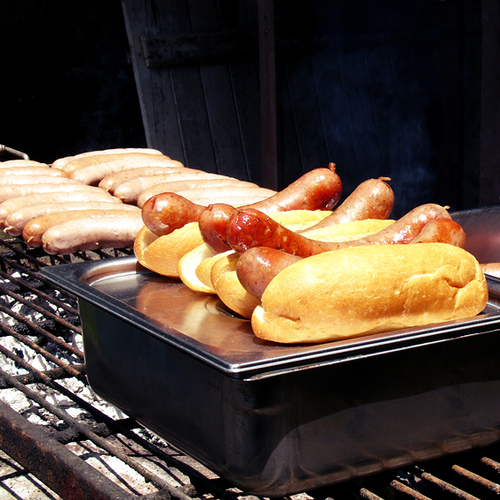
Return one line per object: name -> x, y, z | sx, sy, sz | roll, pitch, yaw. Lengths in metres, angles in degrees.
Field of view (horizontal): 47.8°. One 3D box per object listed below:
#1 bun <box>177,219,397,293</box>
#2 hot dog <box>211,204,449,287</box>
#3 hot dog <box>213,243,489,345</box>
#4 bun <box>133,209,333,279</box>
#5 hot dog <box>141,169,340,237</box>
bun -> 0.050, -0.003, 0.934 | 0.293, 0.051, 0.152 | -9, 8, -16
hot dog -> 0.104, -0.027, 0.817 | 0.403, 0.080, 0.057 | 1, 14, -22
hot dog -> 0.122, 0.055, 0.722 | 0.306, 0.072, 0.130 | -1, -8, -15
bun -> -0.077, -0.011, 1.044 | 0.341, 0.073, 0.164 | -4, -24, -2
hot dog -> -0.011, -0.074, 1.094 | 0.491, 0.122, 0.098 | -17, 25, -38
